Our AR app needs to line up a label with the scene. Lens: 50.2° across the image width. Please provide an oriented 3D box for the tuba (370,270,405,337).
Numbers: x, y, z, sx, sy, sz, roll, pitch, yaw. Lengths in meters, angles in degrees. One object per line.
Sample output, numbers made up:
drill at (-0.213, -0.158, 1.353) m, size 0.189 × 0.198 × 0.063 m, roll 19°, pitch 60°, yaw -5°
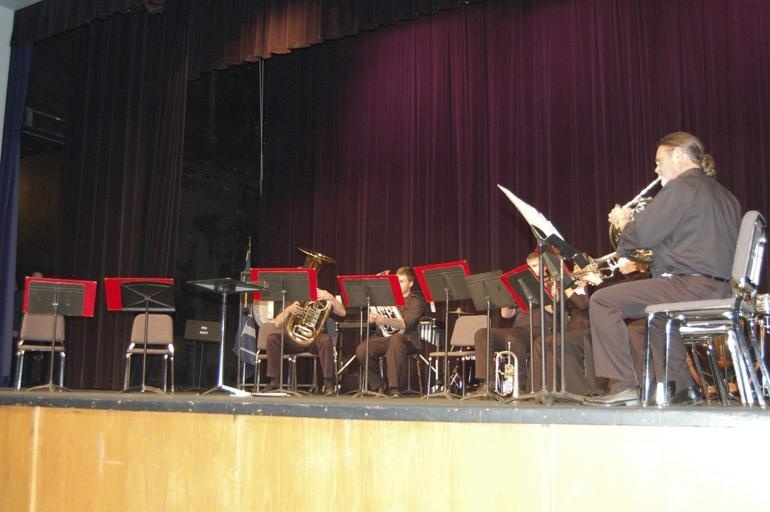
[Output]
tuba at (0.002, 0.543, 9.336) m, size 0.355 × 0.774 × 0.340 m, roll 1°, pitch 1°, yaw 30°

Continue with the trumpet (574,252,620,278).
trumpet at (2.084, 0.090, 8.053) m, size 0.348 × 0.195 × 0.211 m, roll -12°, pitch -2°, yaw 33°

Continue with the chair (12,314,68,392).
chair at (-4.161, 1.003, 9.991) m, size 0.709 × 1.213 × 0.654 m, roll 3°, pitch -3°, yaw 39°

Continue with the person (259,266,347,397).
person at (-0.926, 0.892, 9.270) m, size 0.820 × 1.519 × 0.790 m, roll 1°, pitch -14°, yaw -3°

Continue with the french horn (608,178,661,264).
french horn at (2.390, -0.329, 7.813) m, size 0.445 × 0.946 × 0.407 m, roll 7°, pitch 9°, yaw 10°

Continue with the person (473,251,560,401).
person at (1.343, 0.720, 8.538) m, size 0.672 × 1.625 × 0.690 m, roll 4°, pitch 0°, yaw 12°

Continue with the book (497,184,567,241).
book at (1.707, -0.499, 9.349) m, size 0.272 × 1.009 × 0.088 m, roll -42°, pitch 11°, yaw 2°
